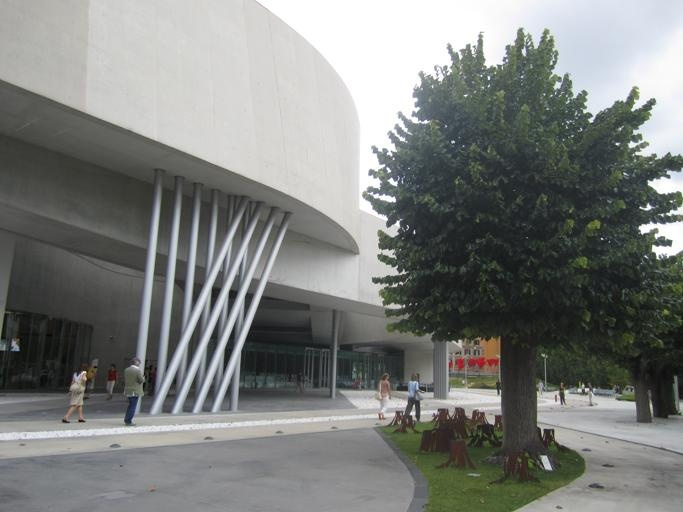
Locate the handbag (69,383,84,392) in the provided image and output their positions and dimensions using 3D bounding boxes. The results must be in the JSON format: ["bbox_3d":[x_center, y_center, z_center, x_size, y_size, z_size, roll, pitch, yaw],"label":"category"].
[{"bbox_3d":[-8.049,3.991,15.361,0.310,0.155,0.253,6,-11,43],"label":"handbag"}]

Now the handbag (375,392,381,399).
[{"bbox_3d":[1.525,5.873,21.352,0.219,0.388,0.351,8,-18,-27],"label":"handbag"}]
